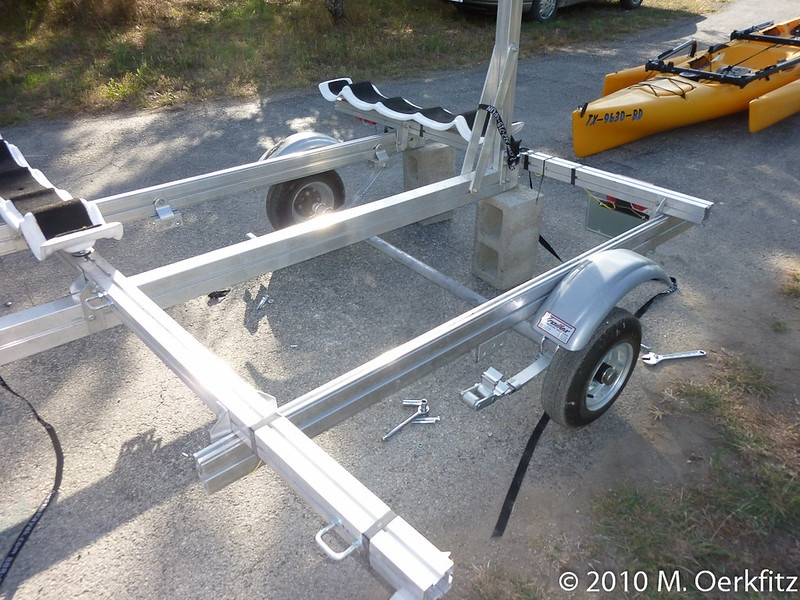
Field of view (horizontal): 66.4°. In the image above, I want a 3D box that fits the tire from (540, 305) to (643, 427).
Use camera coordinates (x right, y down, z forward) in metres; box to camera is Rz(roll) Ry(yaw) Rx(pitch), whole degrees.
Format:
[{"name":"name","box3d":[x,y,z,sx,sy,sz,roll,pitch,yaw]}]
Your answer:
[{"name":"tire","box3d":[1.360,0.479,4.267,0.861,0.917,0.269,-27,41,-26]}]
